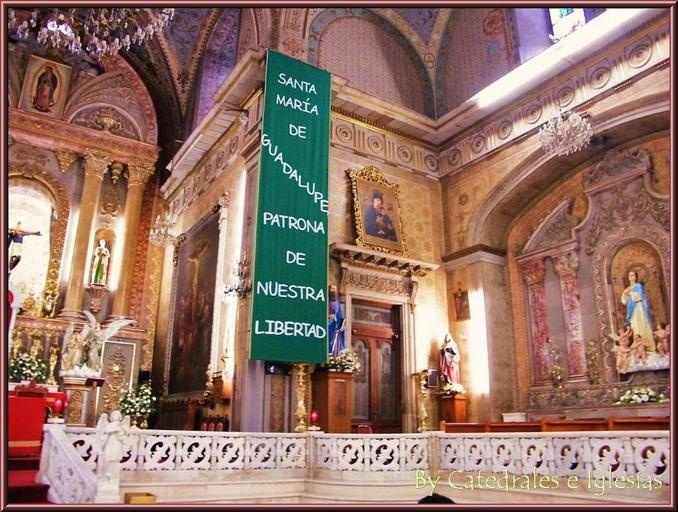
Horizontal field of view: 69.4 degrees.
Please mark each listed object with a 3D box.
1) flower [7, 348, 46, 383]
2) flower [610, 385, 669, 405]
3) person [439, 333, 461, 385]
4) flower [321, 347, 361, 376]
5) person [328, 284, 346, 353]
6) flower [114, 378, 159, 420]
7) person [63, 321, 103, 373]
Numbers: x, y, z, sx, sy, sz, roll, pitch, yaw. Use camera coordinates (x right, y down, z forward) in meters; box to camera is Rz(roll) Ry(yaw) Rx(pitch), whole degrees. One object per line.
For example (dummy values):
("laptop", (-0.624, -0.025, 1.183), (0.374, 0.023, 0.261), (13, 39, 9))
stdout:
("flower", (-7.646, 2.734, 12.016), (0.673, 0.691, 1.205), (5, -18, -15))
("flower", (6.265, 2.882, 10.208), (0.970, 0.413, 0.720), (-12, -22, 34))
("person", (2.818, 2.634, 12.557), (0.476, 1.282, 0.381), (-5, -18, 18))
("flower", (0.060, 2.291, 10.693), (0.784, 0.525, 0.563), (5, -18, -13))
("person", (-0.040, 1.458, 11.292), (0.488, 1.663, 0.306), (6, -18, -18))
("flower", (-5.691, 4.099, 14.073), (0.970, 1.113, 2.081), (6, -19, -18))
("person", (-6.838, 2.512, 13.128), (0.910, 1.289, 0.628), (9, -19, -25))
